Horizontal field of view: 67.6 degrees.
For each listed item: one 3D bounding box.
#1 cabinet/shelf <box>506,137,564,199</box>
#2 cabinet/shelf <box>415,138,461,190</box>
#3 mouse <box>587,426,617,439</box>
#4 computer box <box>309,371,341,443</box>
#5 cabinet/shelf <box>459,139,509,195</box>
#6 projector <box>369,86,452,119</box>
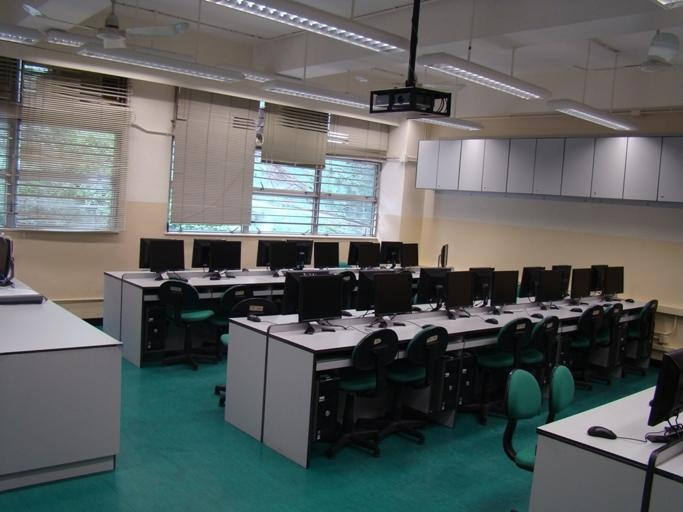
[{"bbox_3d":[3.232,-1.494,8.448,0.361,0.891,1.091,-5,11,-44],"label":"cabinet/shelf"},{"bbox_3d":[1.851,-1.744,9.668,0.376,0.971,1.147,0,3,-40],"label":"cabinet/shelf"},{"bbox_3d":[1.626,1.085,3.172,0.134,0.039,0.079,5,2,33],"label":"mouse"},{"bbox_3d":[-0.150,1.317,4.317,0.222,0.648,0.338,7,11,2],"label":"computer box"},{"bbox_3d":[2.551,-1.616,9.077,0.380,0.940,1.140,-3,4,-44],"label":"cabinet/shelf"},{"bbox_3d":[0.583,-1.513,5.038,0.455,0.162,0.494,-5,9,-43],"label":"projector"}]
